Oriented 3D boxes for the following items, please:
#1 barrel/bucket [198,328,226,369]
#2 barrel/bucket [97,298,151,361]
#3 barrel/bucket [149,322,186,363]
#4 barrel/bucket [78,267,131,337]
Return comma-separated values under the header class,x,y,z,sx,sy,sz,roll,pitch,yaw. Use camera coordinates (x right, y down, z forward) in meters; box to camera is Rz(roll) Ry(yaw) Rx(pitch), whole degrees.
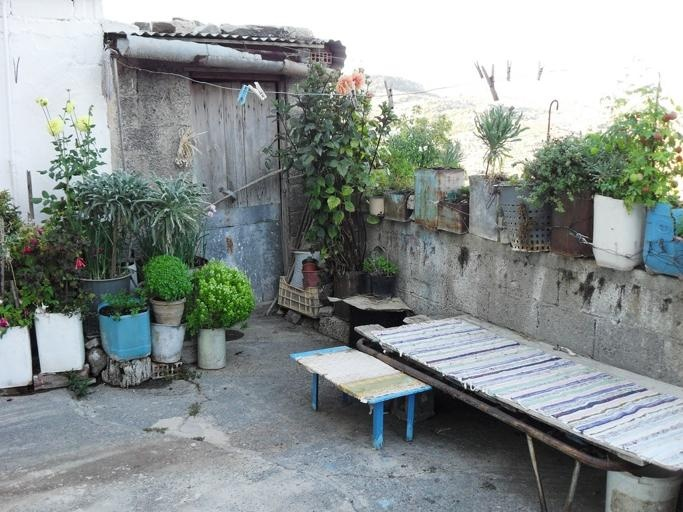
class,x,y,z,sx,sy,sz,roll,pitch,yaw
barrel/bucket,-1.450,1.042,6.016,0.363,0.404,0.351,-1,-5,0
barrel/bucket,-2.154,0.727,5.413,0.534,0.657,0.601,0,0,-44
barrel/bucket,-1.864,0.949,5.789,0.453,0.376,0.423,1,-1,0
barrel/bucket,-2.508,0.502,5.604,0.581,0.595,0.560,1,3,0
